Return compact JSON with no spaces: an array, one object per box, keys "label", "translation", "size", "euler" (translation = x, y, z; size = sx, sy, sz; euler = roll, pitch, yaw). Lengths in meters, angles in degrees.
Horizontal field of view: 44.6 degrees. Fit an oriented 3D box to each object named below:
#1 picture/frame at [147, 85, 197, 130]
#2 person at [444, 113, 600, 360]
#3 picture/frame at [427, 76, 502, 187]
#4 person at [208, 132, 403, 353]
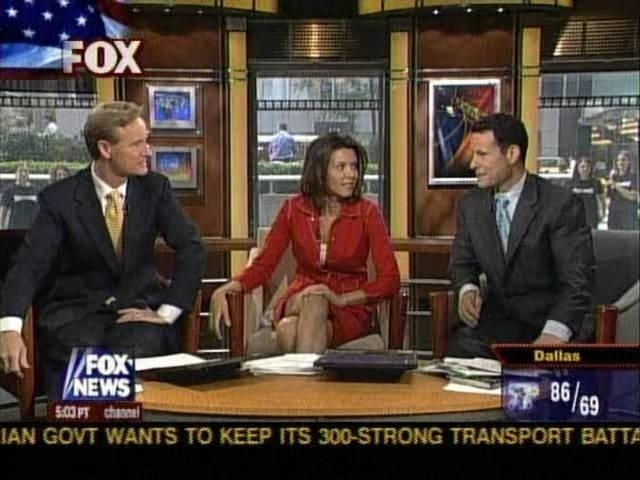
[{"label":"picture/frame","translation":[-0.511,-0.493,2.724],"size":[0.172,0.165,0.111],"euler":[-5,36,-17]},{"label":"person","translation":[0.695,-0.008,2.700],"size":[0.484,0.859,0.134],"euler":[4,7,27]},{"label":"picture/frame","translation":[0.502,-0.372,2.704],"size":[0.263,0.440,0.022],"euler":[1,-23,9]},{"label":"person","translation":[-0.054,-0.005,2.908],"size":[0.643,0.794,0.394],"euler":[-4,8,-28]}]
